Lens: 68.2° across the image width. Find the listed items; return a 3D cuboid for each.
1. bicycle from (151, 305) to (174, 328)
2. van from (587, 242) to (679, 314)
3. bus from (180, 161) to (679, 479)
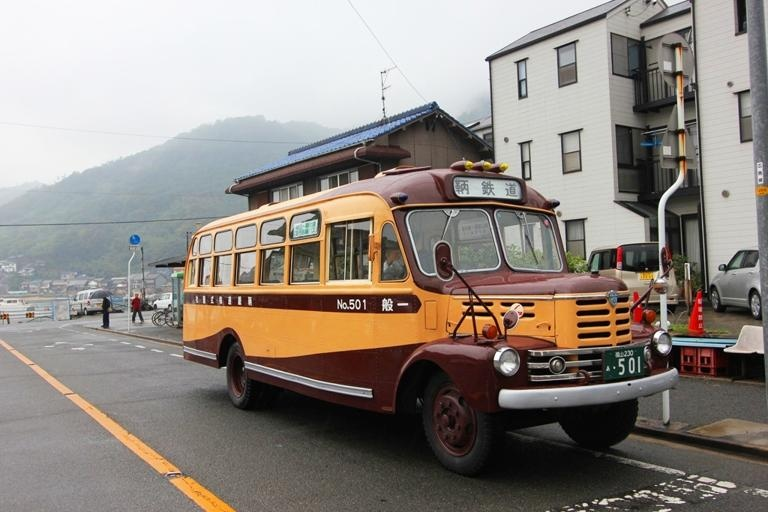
[{"bbox_3d":[-12.268,3.268,31.358,0.848,1.258,3.088,-4,4,-28],"label":"bicycle"},{"bbox_3d":[9.335,0.782,21.966,2.306,2.316,4.536,-2,-1,5],"label":"van"},{"bbox_3d":[-0.306,0.928,10.801,3.827,4.074,10.097,3,-5,-40],"label":"bus"}]
